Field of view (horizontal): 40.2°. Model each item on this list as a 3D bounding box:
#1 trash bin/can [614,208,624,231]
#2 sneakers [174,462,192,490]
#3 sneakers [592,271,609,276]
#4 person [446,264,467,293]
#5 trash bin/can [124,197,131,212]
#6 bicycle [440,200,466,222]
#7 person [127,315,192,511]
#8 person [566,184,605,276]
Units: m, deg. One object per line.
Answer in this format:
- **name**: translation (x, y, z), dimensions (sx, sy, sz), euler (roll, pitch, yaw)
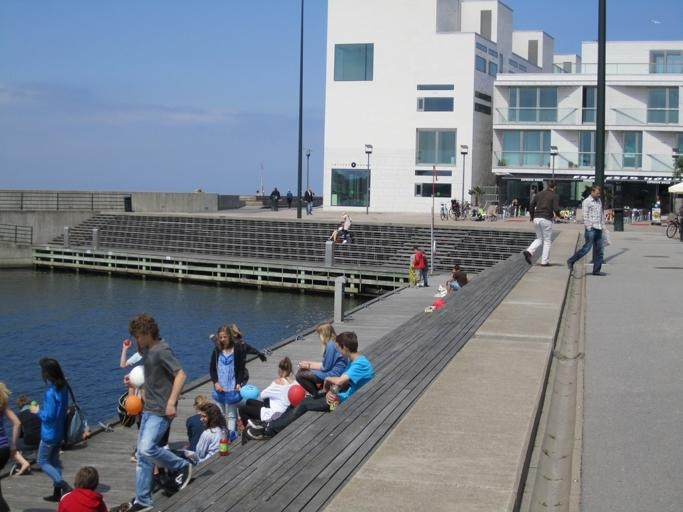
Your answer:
- **trash bin/can**: translation (11.076, -1.453, 37.465), dimensions (0.273, 0.635, 0.830), euler (-8, 4, 8)
- **sneakers**: translation (-2.049, 2.868, 12.055), dimensions (0.168, 0.452, 0.160), euler (11, 25, -8)
- **sneakers**: translation (5.774, 0.394, 20.847), dimensions (0.322, 0.160, 0.129), euler (-3, 9, -4)
- **person**: translation (3.225, 0.654, 26.384), dimensions (0.349, 0.890, 0.544), euler (-9, 37, -13)
- **trash bin/can**: translation (-11.327, -2.783, 49.402), dimensions (0.457, 0.779, 1.229), euler (-10, 3, -13)
- **bicycle**: translation (5.881, -2.378, 48.869), dimensions (0.726, 1.089, 2.014), euler (-1, 8, 27)
- **person**: translation (-2.388, 1.954, 11.899), dimensions (0.856, 2.357, 0.471), euler (-10, 4, -17)
- **person**: translation (5.371, -0.518, 20.559), dimensions (0.861, 1.383, 2.282), euler (-8, 4, 15)
